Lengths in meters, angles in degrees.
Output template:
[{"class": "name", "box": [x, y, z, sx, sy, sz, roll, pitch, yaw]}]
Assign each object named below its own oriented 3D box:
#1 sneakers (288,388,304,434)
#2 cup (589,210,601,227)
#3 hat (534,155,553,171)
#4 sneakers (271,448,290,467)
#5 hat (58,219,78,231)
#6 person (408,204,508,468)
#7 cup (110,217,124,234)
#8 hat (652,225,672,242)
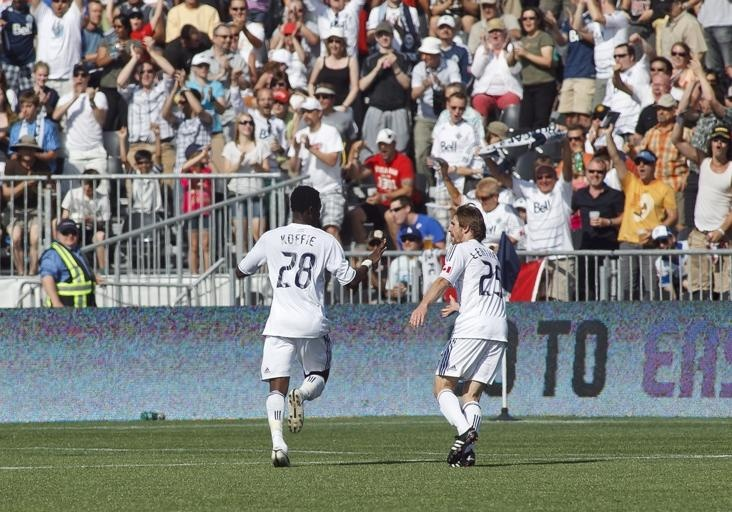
[{"class": "sneakers", "box": [-0.968, 2.049, 31.202, 0.195, 0.565, 0.259, 0, -6, 12]}, {"class": "cup", "box": [3.592, -0.602, 36.635, 0.188, 0.228, 0.189, 1, 3, 0]}, {"class": "hat", "box": [2.782, -1.492, 36.681, 0.187, 0.288, 0.271, -5, 7, 4]}, {"class": "sneakers", "box": [-1.179, 2.667, 31.074, 0.242, 0.266, 0.241, 0, 2, -2]}, {"class": "hat", "box": [-4.663, -0.486, 35.706, 0.295, 0.237, 0.195, 0, 2, -11]}, {"class": "person", "box": [1.328, 1.034, 31.438, 0.851, 3.476, 1.038, 2, 2, 43]}, {"class": "cup", "box": [-3.931, -0.493, 36.174, 0.231, 0.253, 0.202, 2, -5, -11]}, {"class": "hat", "box": [4.607, -0.382, 36.187, 0.305, 0.241, 0.313, 0, 2, 2]}]
